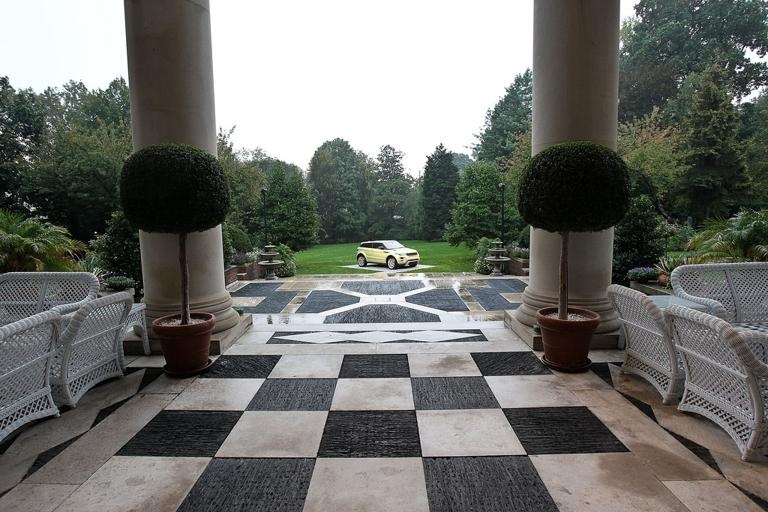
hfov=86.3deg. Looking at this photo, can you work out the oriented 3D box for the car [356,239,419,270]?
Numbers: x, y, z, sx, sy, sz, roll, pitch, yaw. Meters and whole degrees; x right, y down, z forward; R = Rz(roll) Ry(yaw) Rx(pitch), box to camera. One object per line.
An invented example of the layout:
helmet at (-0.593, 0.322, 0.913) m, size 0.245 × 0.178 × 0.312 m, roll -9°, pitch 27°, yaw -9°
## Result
car at (0.238, -0.121, 22.284) m, size 2.867 × 1.090 × 1.585 m, roll 0°, pitch 3°, yaw 37°
